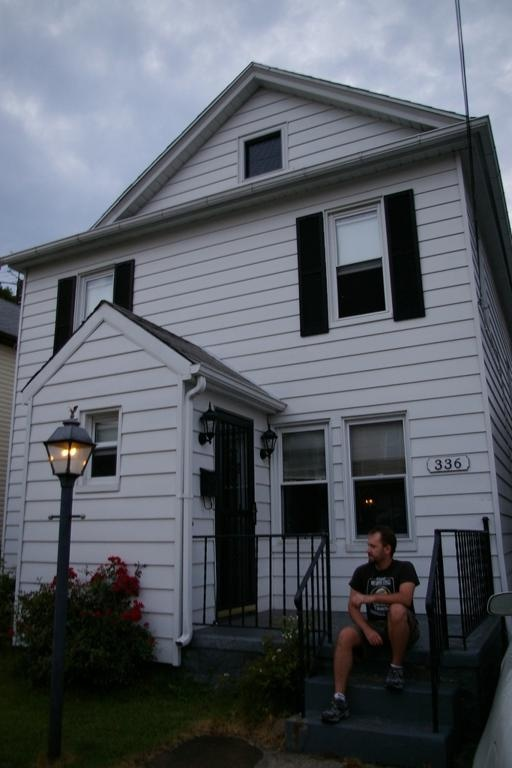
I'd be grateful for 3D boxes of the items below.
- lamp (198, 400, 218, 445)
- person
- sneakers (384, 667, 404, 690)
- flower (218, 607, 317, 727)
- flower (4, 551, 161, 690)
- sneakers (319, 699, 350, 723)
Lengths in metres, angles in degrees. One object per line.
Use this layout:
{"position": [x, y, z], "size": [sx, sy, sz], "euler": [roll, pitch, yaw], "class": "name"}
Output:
{"position": [-0.441, 0.387, 6.241], "size": [0.147, 0.424, 0.373], "euler": [-3, -11, 16], "class": "lamp"}
{"position": [0.808, 1.588, 4.431], "size": [0.592, 1.173, 0.890], "euler": [-5, -12, 22], "class": "person"}
{"position": [0.883, 1.875, 4.120], "size": [0.104, 0.137, 0.174], "euler": [-3, -11, 13], "class": "sneakers"}
{"position": [0.076, 2.083, 4.647], "size": [0.480, 0.601, 0.452], "euler": [-1, -11, 5], "class": "flower"}
{"position": [-1.396, 1.997, 5.490], "size": [0.877, 0.889, 1.002], "euler": [10, -14, -40], "class": "flower"}
{"position": [0.486, 2.045, 4.016], "size": [0.079, 0.115, 0.213], "euler": [-12, -23, 29], "class": "sneakers"}
